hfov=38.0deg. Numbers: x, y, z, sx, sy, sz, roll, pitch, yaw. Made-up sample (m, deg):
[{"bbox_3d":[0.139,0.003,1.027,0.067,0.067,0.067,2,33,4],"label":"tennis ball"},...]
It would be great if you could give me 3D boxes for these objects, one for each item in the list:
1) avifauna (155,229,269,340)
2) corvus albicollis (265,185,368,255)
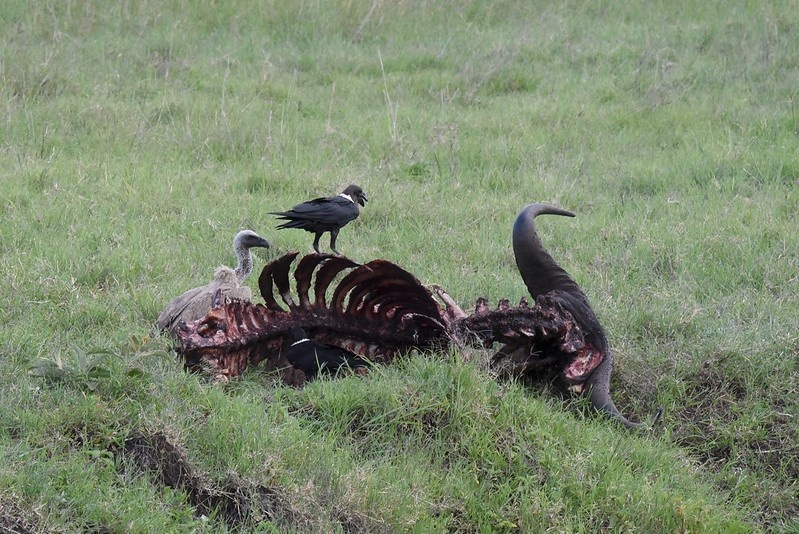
[{"bbox_3d":[-1.655,0.228,11.042,1.061,1.223,0.750,11,25,-37],"label":"avifauna"},{"bbox_3d":[-0.718,-0.477,11.271,1.070,0.768,0.371,6,-21,-34],"label":"corvus albicollis"}]
